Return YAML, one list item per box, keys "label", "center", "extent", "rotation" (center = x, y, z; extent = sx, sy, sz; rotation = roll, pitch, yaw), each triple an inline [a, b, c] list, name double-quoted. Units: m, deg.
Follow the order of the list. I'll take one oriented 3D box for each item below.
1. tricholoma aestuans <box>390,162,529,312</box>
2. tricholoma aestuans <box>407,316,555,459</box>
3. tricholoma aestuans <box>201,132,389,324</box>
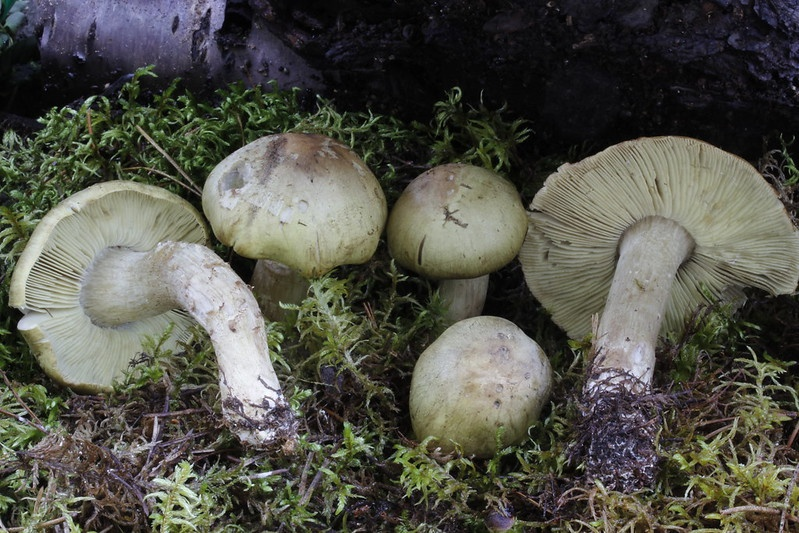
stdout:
- label: "tricholoma aestuans"
  center: [0.258, -0.153, 3.190]
  extent: [0.425, 0.565, 0.417]
  rotation: [-27, 41, -32]
- label: "tricholoma aestuans"
  center: [0.362, 0.513, 2.953]
  extent: [0.599, 0.465, 0.418]
  rotation: [-2, 31, -23]
- label: "tricholoma aestuans"
  center: [-0.446, -0.207, 3.314]
  extent: [0.789, 0.906, 0.808]
  rotation: [16, 29, 0]
